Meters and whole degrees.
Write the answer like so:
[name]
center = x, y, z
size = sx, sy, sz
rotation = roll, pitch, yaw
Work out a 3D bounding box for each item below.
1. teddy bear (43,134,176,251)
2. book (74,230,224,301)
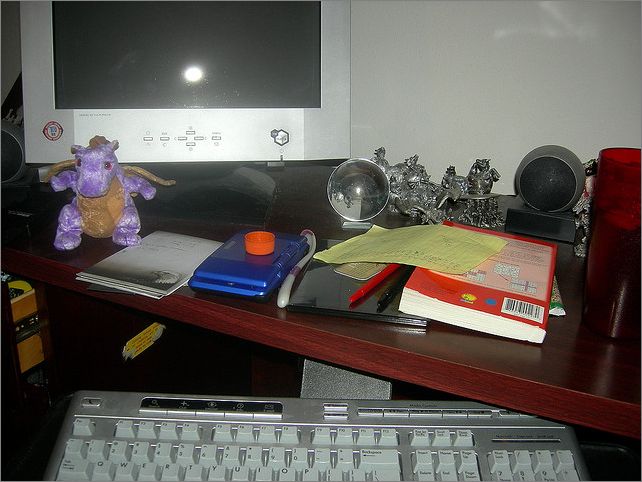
[teddy bear]
center = -0.329, -0.055, 0.765
size = 0.229, 0.184, 0.159
rotation = 2, 35, -17
[book]
center = -0.240, 0.031, 0.635
size = 0.099, 0.011, 0.109
rotation = 10, 31, 14
